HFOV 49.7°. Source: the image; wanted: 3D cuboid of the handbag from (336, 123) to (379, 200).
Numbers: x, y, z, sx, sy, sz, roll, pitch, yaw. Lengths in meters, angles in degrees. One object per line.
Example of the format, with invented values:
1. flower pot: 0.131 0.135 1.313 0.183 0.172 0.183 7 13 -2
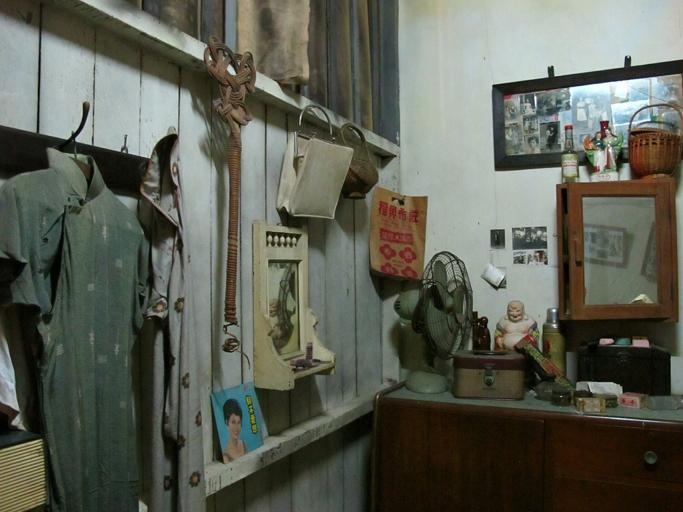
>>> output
1. handbag: 0.045 -0.430 3.280 0.203 0.326 0.288 -6 5 -22

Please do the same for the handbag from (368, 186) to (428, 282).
1. handbag: 0.268 -0.104 3.666 0.341 0.485 0.128 9 -17 -26

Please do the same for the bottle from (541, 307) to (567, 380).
1. bottle: 0.964 0.398 3.376 0.105 0.226 0.278 -1 1 17

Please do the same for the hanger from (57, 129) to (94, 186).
1. hanger: -0.822 -0.302 2.272 0.145 0.245 0.033 3 10 24

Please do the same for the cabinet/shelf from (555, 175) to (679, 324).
1. cabinet/shelf: 1.188 0.005 3.490 0.525 0.915 0.556 -1 -6 10
